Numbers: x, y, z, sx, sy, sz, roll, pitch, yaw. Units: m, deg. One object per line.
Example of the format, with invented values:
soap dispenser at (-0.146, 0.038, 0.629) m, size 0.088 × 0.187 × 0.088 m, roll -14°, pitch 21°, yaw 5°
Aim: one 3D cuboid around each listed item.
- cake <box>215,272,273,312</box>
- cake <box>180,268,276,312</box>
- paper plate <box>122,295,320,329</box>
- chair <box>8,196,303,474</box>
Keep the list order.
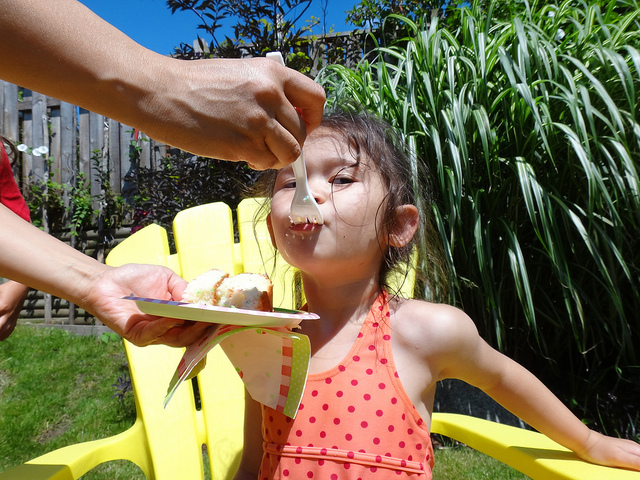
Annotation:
cake at (-0.208, 0.137, 1.336) m, size 0.102 × 0.140 × 0.105 m, roll 3°, pitch 0°, yaw -11°
cake at (-0.274, 0.141, 1.375) m, size 0.241 × 0.162 × 0.086 m, roll 1°, pitch 0°, yaw 16°
paper plate at (-0.239, 0.178, 1.158) m, size 0.470 × 0.087 × 0.125 m, roll 0°, pitch 0°, yaw -5°
chair at (-0.557, 0.447, 1.854) m, size 0.645 × 1.317 × 0.742 m, roll 4°, pitch -2°, yaw -32°
